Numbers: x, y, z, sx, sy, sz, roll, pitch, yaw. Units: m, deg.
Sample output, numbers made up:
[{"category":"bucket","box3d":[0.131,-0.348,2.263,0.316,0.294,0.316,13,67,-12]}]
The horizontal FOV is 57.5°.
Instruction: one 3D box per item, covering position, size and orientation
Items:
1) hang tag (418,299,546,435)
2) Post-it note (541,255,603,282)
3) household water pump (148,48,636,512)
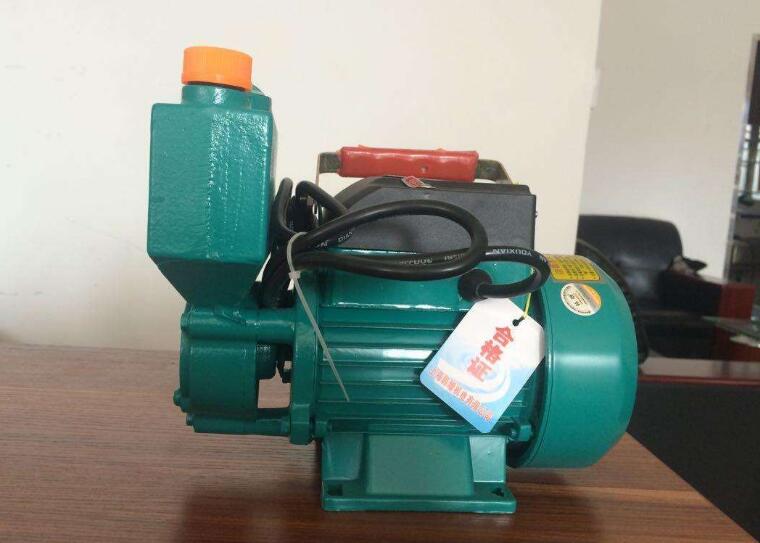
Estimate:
[{"category":"hang tag","box3d":[0.208,0.182,1.401,0.206,0.292,0.087,39,-6,7]},{"category":"Post-it note","box3d":[0.411,-0.007,1.472,0.077,0.019,0.079,5,30,-4]},{"category":"household water pump","box3d":[0.046,0.039,1.611,1.047,0.832,0.739,2,3,1]}]
